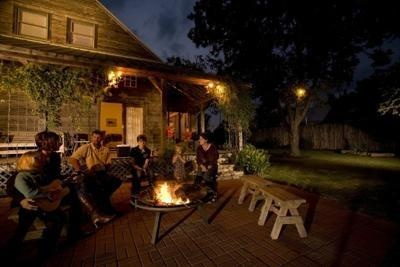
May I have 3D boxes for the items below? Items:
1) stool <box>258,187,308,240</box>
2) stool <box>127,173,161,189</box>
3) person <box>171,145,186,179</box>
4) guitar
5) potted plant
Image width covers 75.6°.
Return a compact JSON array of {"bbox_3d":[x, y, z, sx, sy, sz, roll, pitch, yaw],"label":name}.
[{"bbox_3d":[2.450,2.374,7.457,0.906,0.982,1.342,1,-9,0],"label":"stool"},{"bbox_3d":[-1.961,1.699,9.555,0.703,0.781,1.128,-3,-6,33],"label":"stool"},{"bbox_3d":[-0.797,1.163,10.100,0.460,1.393,0.956,0,-1,-4],"label":"person"},{"bbox_3d":[-3.621,1.514,7.140,1.507,0.152,0.780,18,-42,-16],"label":"guitar"},{"bbox_3d":[2.614,1.254,12.400,1.386,1.076,1.414,10,7,19],"label":"potted plant"}]
